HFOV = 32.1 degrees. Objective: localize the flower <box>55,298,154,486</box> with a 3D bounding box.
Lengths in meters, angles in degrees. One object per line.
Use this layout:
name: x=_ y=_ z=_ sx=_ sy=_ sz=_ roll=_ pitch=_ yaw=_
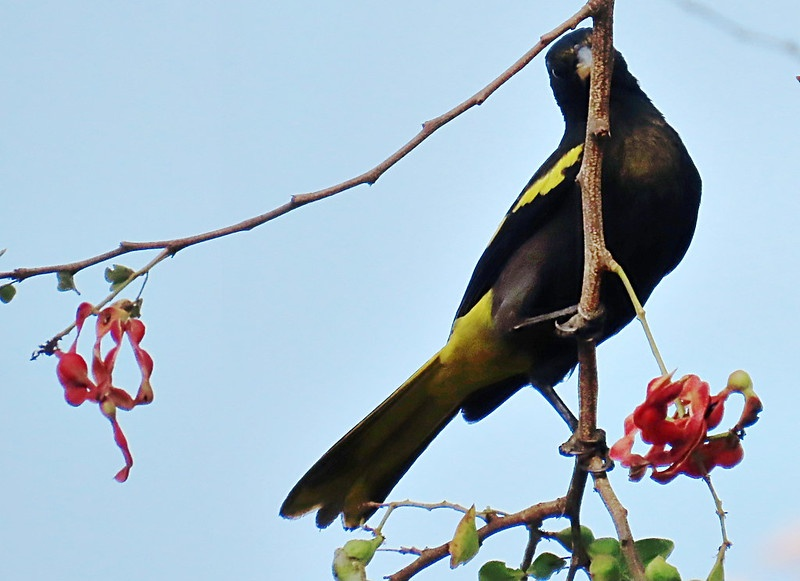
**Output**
flower: x=-0.628 y=0.156 z=2.998 sx=0.160 sy=0.510 sz=0.221 roll=15 pitch=-88 yaw=-25
